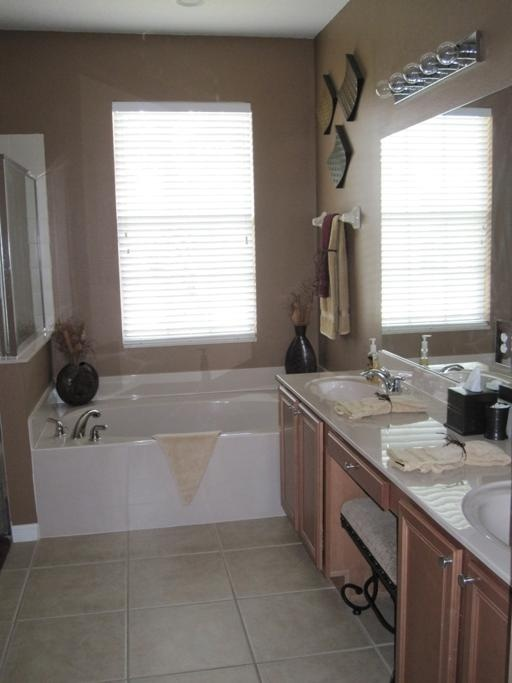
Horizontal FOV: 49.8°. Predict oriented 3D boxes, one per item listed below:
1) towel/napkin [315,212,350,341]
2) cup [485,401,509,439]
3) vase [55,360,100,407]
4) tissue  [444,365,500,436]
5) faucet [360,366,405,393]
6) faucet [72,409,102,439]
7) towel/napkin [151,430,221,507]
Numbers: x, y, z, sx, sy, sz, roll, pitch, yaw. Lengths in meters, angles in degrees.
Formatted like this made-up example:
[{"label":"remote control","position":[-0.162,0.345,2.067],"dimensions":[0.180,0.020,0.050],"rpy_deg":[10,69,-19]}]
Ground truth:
[{"label":"towel/napkin","position":[0.456,-0.395,3.319],"dimensions":[0.123,0.740,0.365],"rpy_deg":[-3,5,-20]},{"label":"cup","position":[0.704,0.233,1.611],"dimensions":[0.070,0.101,0.061],"rpy_deg":[15,23,43]},{"label":"vase","position":[-1.115,0.249,3.456],"dimensions":[0.234,0.291,0.246],"rpy_deg":[2,1,-40]},{"label":"tissue ","position":[0.664,0.179,1.706],"dimensions":[0.112,0.215,0.125],"rpy_deg":[1,8,-15]},{"label":"faucet","position":[0.549,0.158,2.396],"dimensions":[0.077,0.097,0.221],"rpy_deg":[-4,12,-19]},{"label":"faucet","position":[-0.935,0.451,2.974],"dimensions":[0.066,0.100,0.251],"rpy_deg":[3,15,8]},{"label":"towel/napkin","position":[-0.350,0.642,2.801],"dimensions":[0.350,0.450,0.049],"rpy_deg":[-3,22,-19]}]
